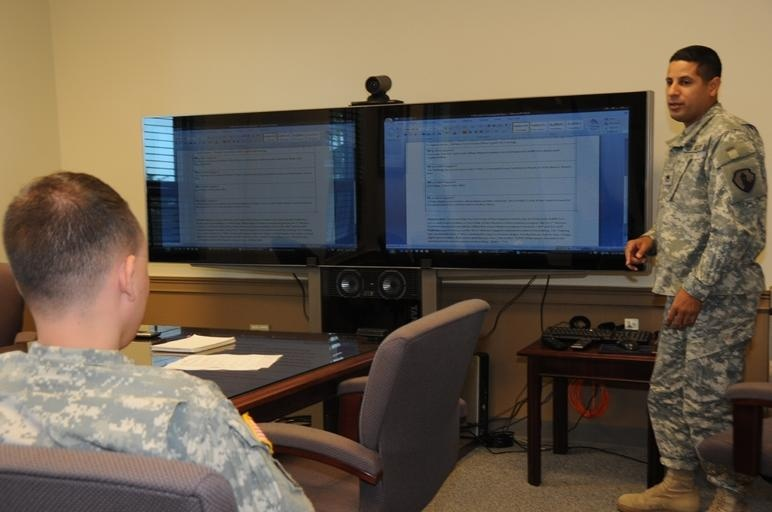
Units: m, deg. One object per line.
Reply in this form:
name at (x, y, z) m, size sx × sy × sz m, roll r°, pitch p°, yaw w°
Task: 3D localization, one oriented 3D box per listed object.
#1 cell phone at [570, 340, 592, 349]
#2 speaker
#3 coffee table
cell phone at (1.007, 0.461, 3.371) m, size 0.051 × 0.024 × 0.070 m, roll 1°, pitch 12°, yaw 30°
speaker at (-0.081, 0.231, 3.915) m, size 0.671 × 0.432 × 0.381 m, roll 0°, pitch 0°, yaw 19°
coffee table at (1.177, 0.845, 3.450) m, size 0.754 × 0.679 × 0.616 m, roll -2°, pitch -3°, yaw 37°
